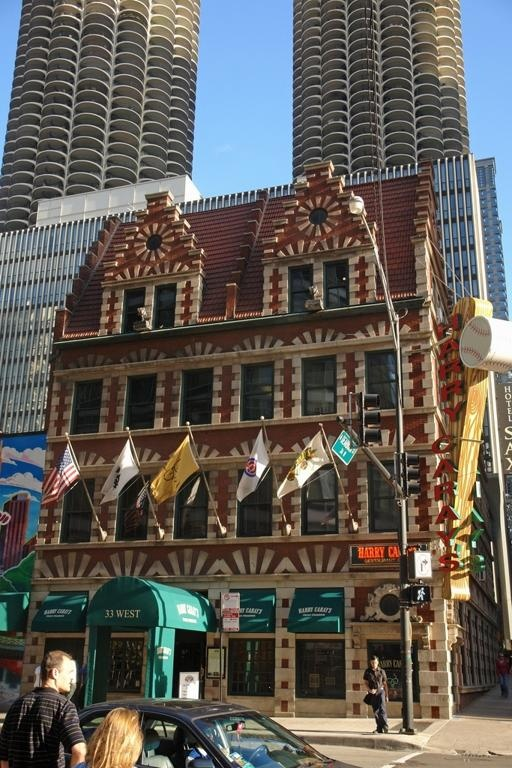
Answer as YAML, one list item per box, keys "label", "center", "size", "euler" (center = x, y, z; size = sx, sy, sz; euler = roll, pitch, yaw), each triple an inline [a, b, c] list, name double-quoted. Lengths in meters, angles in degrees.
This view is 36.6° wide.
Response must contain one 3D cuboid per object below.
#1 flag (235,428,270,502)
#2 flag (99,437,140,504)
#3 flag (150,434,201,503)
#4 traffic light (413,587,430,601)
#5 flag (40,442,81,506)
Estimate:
- label: "flag"
  center: [-0.079, 2.302, 22.727]
  size: [0.806, 2.147, 1.211]
  euler: [-4, -13, 13]
- label: "flag"
  center: [-4.112, 2.625, 23.604]
  size: [1.154, 0.295, 2.670]
  euler: [-12, -44, -33]
- label: "flag"
  center: [-2.445, 2.429, 23.509]
  size: [1.579, 2.373, 0.258]
  euler: [-16, -50, 18]
- label: "traffic light"
  center: [3.627, 4.617, 17.081]
  size: [0.409, 0.377, 0.241]
  euler: [1, -13, -12]
- label: "flag"
  center: [-6.204, 2.757, 24.566]
  size: [1.011, 1.935, 1.174]
  euler: [2, -13, -12]
